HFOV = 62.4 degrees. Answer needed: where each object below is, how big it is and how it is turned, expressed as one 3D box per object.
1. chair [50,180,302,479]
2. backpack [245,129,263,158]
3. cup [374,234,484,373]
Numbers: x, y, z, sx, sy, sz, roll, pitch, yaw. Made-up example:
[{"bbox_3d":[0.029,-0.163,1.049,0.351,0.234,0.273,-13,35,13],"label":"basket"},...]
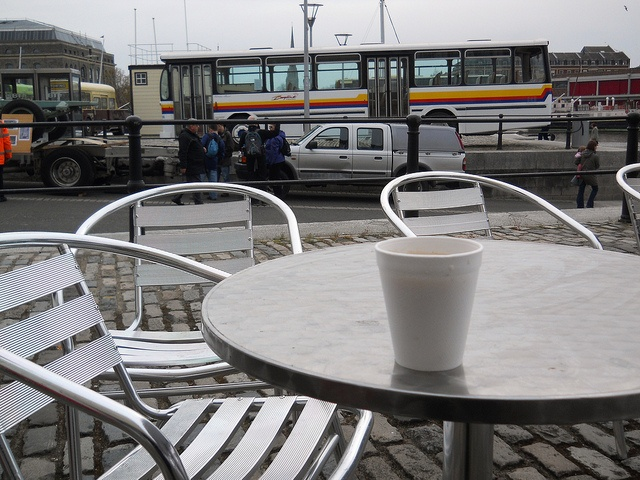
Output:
[{"bbox_3d":[-0.532,0.305,2.514,1.074,1.372,1.000,-1,6,-8],"label":"chair"},{"bbox_3d":[-1.394,-2.061,11.192,0.367,0.527,0.535,-1,-28,-5],"label":"backpack"},{"bbox_3d":[0.204,0.120,1.085,0.233,0.270,0.243,-3,12,1],"label":"cup"}]
